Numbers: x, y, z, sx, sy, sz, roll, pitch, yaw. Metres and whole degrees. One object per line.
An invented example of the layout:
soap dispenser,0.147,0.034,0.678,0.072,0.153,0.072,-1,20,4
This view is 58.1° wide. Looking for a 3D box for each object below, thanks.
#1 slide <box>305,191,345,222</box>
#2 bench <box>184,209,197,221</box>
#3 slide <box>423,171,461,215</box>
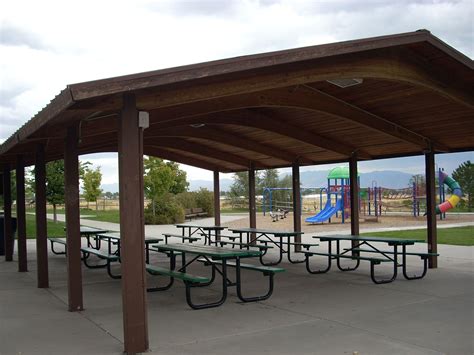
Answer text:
slide,5.385,2.048,26.342,2.777,1.156,0.832,-6,4,-44
bench,-3.267,2.672,30.051,0.716,0.789,2.387,0,-1,-2
slide,14.542,1.118,29.203,1.374,3.028,8.908,0,-1,27
